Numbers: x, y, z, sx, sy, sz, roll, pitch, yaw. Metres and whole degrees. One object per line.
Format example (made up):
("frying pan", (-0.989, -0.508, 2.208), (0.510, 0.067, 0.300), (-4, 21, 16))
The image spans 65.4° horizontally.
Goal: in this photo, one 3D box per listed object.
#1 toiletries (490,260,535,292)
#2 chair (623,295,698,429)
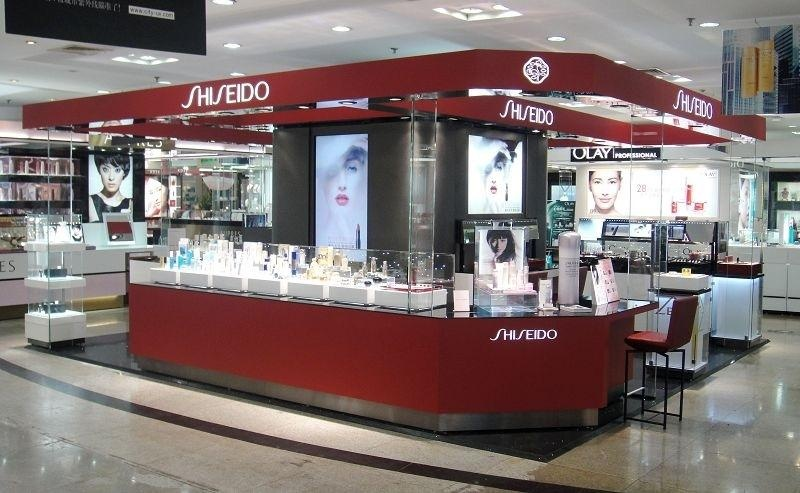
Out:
("toiletries", (1.432, 0.390, 7.966), (0.623, 0.430, 0.331), (1, -4, -11))
("chair", (3.382, 1.474, 8.172), (0.786, 1.652, 0.733), (1, 2, 41))
